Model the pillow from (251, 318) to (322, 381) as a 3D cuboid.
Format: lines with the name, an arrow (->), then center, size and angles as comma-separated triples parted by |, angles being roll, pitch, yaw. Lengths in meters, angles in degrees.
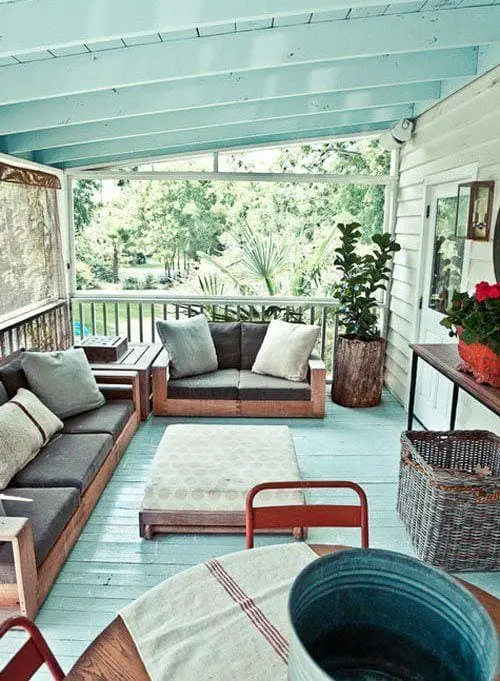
pillow -> 0.338, 0.081, 4.352 | 0.572, 0.528, 0.173 | 13, -9, 40

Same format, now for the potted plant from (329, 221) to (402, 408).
potted plant -> 1.111, -0.268, 4.774 | 0.594, 1.761, 0.987 | 5, 14, 13

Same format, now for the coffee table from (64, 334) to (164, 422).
coffee table -> -1.217, 0.485, 4.365 | 0.748, 0.472, 1.020 | 3, 16, 1

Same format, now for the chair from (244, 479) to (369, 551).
chair -> 0.142, 0.499, 1.408 | 0.355, 0.165, 0.266 | -1, 13, -11

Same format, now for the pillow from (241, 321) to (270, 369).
pillow -> 0.012, 0.028, 4.660 | 0.394, 0.370, 0.158 | 3, -8, 33

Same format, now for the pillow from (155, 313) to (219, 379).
pillow -> -0.572, 0.068, 4.391 | 0.281, 0.478, 0.591 | 6, 16, 43
